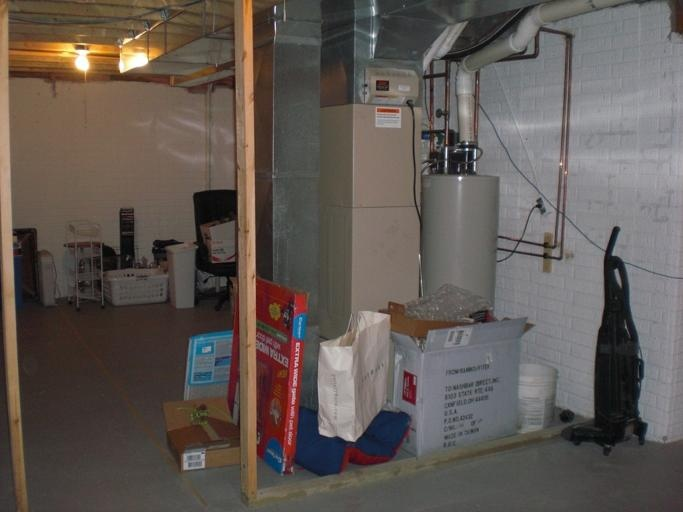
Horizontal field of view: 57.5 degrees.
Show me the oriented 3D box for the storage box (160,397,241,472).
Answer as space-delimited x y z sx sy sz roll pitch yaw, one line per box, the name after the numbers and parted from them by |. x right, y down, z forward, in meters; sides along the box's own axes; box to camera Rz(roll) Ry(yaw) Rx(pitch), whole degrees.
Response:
-0.984 1.236 4.399 0.488 0.279 0.746 -4 12 -18 | storage box

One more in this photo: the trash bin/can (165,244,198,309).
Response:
-2.065 0.258 8.076 0.361 0.772 0.374 -3 11 -16 | trash bin/can

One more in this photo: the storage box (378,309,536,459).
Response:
0.777 0.762 4.681 1.267 1.157 0.810 -2 3 -26 | storage box

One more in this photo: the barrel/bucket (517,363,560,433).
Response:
1.460 1.071 4.664 0.380 0.383 0.432 1 -6 4 | barrel/bucket

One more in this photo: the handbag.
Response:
0.078 0.792 4.134 0.272 0.805 0.564 6 13 30 | handbag

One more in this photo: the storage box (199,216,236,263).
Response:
-1.554 -0.187 7.828 0.338 0.607 0.469 2 -12 -40 | storage box

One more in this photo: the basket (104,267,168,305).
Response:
-2.701 0.360 8.239 0.673 0.322 0.472 -3 8 -26 | basket

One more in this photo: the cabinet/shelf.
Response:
-3.524 0.021 8.568 0.470 1.044 1.667 -4 12 -22 | cabinet/shelf

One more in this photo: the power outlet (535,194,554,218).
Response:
1.643 -0.406 5.083 0.152 0.113 0.078 8 14 34 | power outlet
